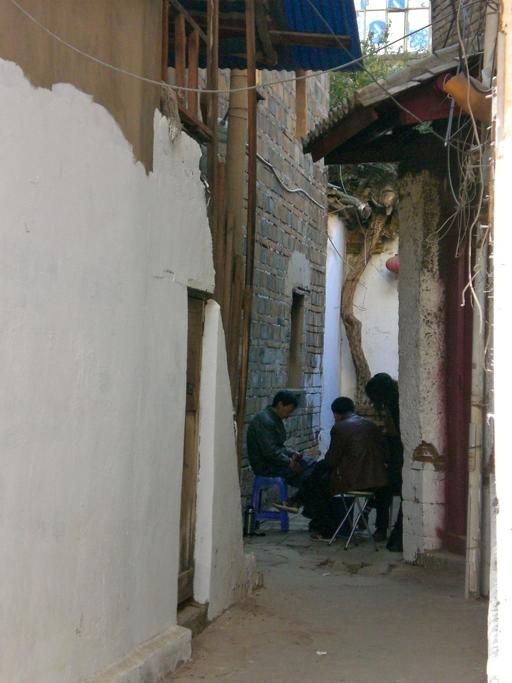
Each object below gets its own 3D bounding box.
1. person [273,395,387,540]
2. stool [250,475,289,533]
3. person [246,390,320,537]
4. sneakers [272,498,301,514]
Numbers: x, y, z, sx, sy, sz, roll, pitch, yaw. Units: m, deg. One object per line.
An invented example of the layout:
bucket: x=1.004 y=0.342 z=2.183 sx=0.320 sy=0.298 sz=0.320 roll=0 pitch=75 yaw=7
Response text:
person: x=0.653 y=1.071 z=8.845 sx=0.885 sy=1.757 sz=0.761 roll=-6 pitch=-9 yaw=43
stool: x=0.099 y=1.388 z=9.318 sx=0.413 sy=0.641 sz=0.435 roll=0 pitch=-4 yaw=14
person: x=0.279 y=0.959 z=9.258 sx=0.639 sy=1.094 sz=0.438 roll=1 pitch=-3 yaw=5
sneakers: x=0.260 y=1.411 z=9.176 sx=0.283 sy=0.140 sz=0.114 roll=8 pitch=-7 yaw=12
